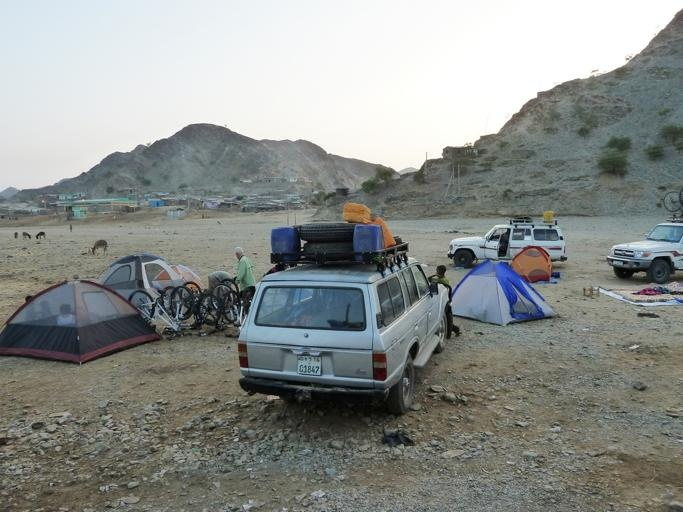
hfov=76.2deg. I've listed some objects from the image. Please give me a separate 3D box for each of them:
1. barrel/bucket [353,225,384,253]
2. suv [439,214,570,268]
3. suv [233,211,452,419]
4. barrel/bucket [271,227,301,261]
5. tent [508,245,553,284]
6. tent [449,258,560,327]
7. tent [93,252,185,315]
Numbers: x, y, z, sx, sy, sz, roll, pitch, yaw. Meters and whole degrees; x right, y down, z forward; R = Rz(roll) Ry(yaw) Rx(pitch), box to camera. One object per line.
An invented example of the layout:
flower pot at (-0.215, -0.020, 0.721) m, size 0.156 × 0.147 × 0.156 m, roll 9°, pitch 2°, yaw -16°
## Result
barrel/bucket at (0.369, -0.229, 6.699) m, size 0.502 × 0.483 × 0.600 m, roll -2°, pitch 3°, yaw 4°
suv at (7.982, -0.901, 21.472) m, size 5.505 × 1.870 × 2.628 m, roll 1°, pitch 3°, yaw 5°
suv at (0.306, 0.970, 8.085) m, size 2.810 × 1.970 × 4.487 m, roll 2°, pitch 8°, yaw 26°
barrel/bucket at (-0.861, -0.235, 7.004) m, size 0.487 × 0.394 × 0.408 m, roll -1°, pitch -2°, yaw 37°
tent at (7.479, 0.330, 17.466) m, size 2.266 × 1.254 × 1.894 m, roll -2°, pitch 14°, yaw 8°
tent at (4.314, 0.938, 12.295) m, size 3.040 × 0.975 × 2.919 m, roll 0°, pitch 7°, yaw 15°
tent at (-5.999, 0.437, 13.122) m, size 1.850 × 0.836 × 1.769 m, roll 1°, pitch 7°, yaw 38°
